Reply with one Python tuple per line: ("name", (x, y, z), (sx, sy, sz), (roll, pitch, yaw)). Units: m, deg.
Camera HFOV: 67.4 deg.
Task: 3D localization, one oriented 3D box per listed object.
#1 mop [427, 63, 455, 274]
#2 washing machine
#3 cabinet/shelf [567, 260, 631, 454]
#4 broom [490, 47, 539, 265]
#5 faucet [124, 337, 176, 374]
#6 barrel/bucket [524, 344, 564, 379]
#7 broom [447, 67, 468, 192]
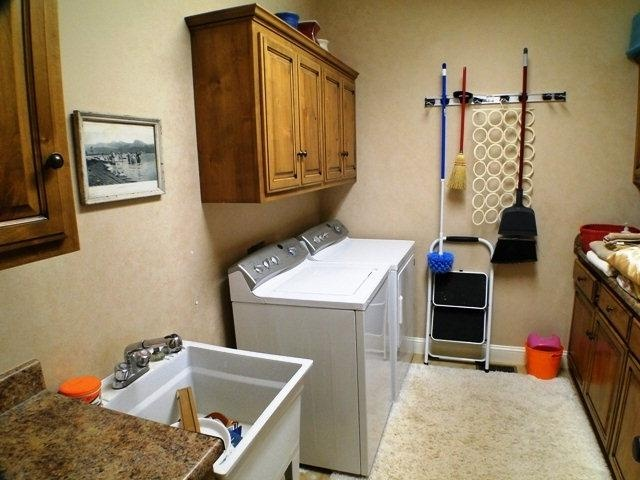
("mop", (0.903, -0.498, 3.565), (0.267, 1.567, 0.277), (2, 8, 13))
("washing machine", (0.103, 0.534, 2.873), (0.871, 1.249, 1.351), (4, 9, 14))
("cabinet/shelf", (1.559, 0.670, 2.667), (0.333, 0.863, 0.891), (-1, 10, 19))
("broom", (1.451, -0.498, 3.355), (0.265, 1.534, 0.184), (7, 13, 12))
("faucet", (-0.682, 0.445, 1.947), (0.081, 0.120, 0.296), (3, 6, 27))
("barrel/bucket", (1.579, 0.877, 3.389), (0.231, 0.182, 0.209), (0, -1, 19))
("broom", (1.013, -0.804, 3.451), (0.142, 0.849, 0.161), (-2, 9, -13))
